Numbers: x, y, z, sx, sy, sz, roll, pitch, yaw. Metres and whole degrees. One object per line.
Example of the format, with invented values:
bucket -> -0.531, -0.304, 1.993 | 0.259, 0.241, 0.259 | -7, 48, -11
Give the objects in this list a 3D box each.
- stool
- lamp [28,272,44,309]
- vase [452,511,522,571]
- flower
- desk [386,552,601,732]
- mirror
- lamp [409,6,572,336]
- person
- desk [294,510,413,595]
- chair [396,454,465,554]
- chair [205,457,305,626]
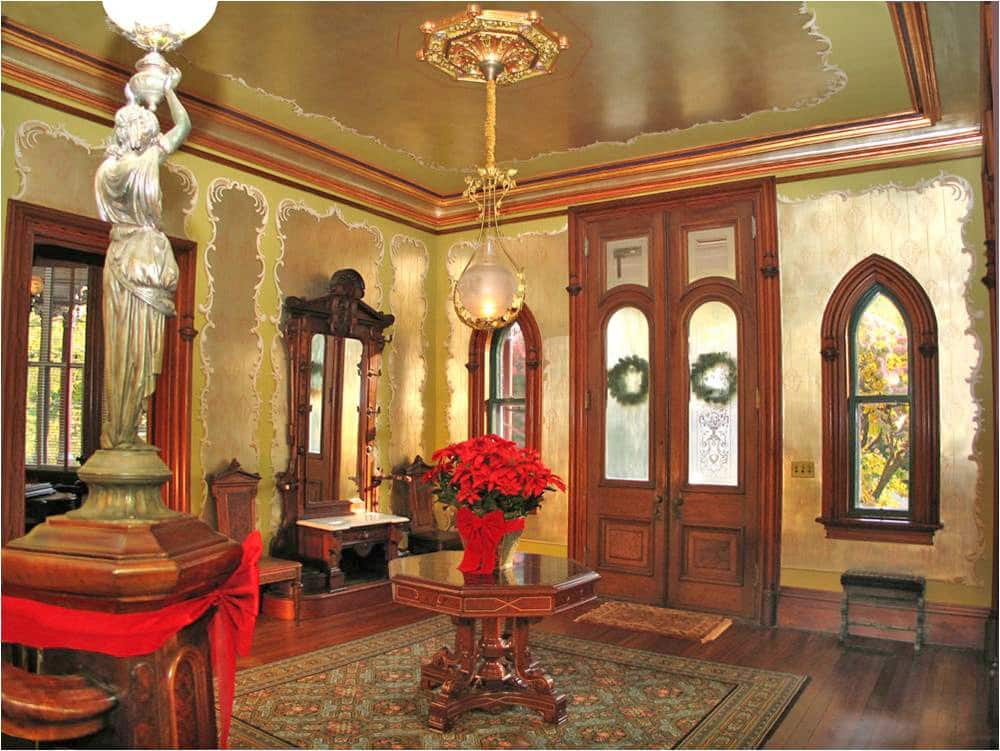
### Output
stool -> 2.995, 1.820, 6.137 | 0.586, 0.502, 0.274 | -3, -7, 37
lamp -> -5.517, -1.041, 9.339 | 0.117, 0.390, 0.147 | 2, -5, -32
vase -> -0.068, 1.020, 4.936 | 0.450, 0.343, 0.361 | -1, 0, 12
flower -> -0.032, 0.636, 4.905 | 0.810, 0.463, 0.737 | 19, 5, 20
desk -> -0.075, 1.661, 4.958 | 1.330, 0.871, 1.242 | 1, -4, -5
mirror -> -1.561, 0.405, 7.418 | 0.106, 1.560, 0.689 | -3, -5, 29
lamp -> -0.038, -1.730, 6.588 | 1.702, 2.637, 1.668 | 0, -18, -1
person -> -1.195, -0.406, 2.603 | 0.268, 1.276, 0.293 | 1, -5, -23
desk -> -1.373, 1.579, 7.206 | 0.541, 0.535, 0.917 | 1, -3, 34
chair -> -0.657, 1.436, 8.192 | 0.651, 0.983, 0.695 | 4, -2, -43
chair -> -1.985, 1.351, 6.492 | 0.703, 1.316, 0.601 | -2, -5, 23
